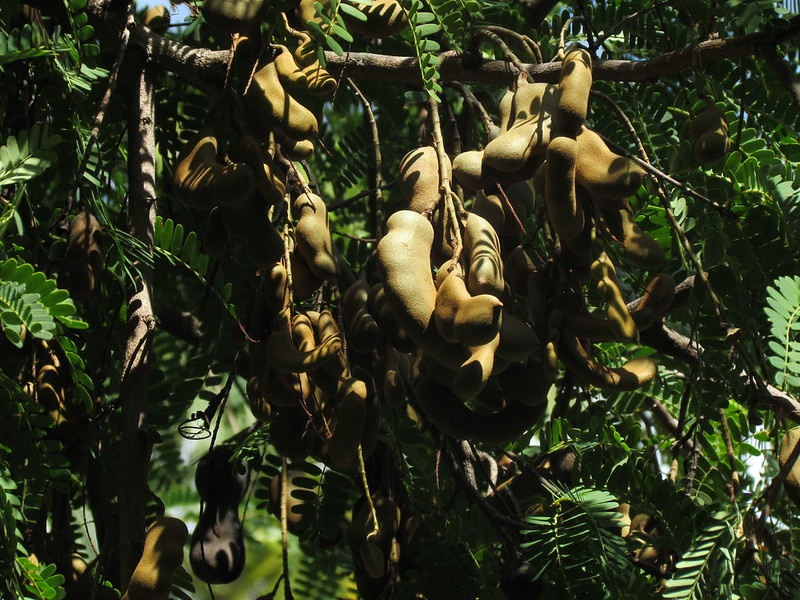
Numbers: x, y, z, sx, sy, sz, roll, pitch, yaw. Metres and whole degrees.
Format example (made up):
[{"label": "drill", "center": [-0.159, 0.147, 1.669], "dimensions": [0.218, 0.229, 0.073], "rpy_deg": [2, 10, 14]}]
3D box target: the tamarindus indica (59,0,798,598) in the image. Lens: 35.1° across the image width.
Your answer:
[{"label": "tamarindus indica", "center": [-0.029, 0.014, 1.631], "dimensions": [0.653, 0.338, 0.635], "rpy_deg": [2, -2, 42]}]
